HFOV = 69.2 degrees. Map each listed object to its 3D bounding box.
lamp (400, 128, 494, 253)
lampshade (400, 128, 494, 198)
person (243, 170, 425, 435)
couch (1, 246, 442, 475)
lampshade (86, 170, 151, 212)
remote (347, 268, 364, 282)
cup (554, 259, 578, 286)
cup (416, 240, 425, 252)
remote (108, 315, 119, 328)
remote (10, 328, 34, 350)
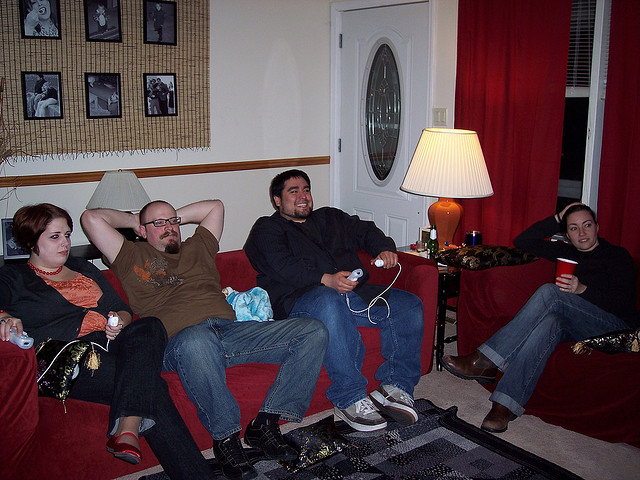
[{"bbox_3d":[0.906,-0.428,3.612,0.744,1.022,0.795,4,12,19],"label":"lamp"},{"bbox_3d":[0.861,-0.544,3.306,0.489,0.514,0.522,-3,16,-14],"label":"lampshade"},{"bbox_3d":[0.166,0.248,2.818,0.922,1.523,1.081,-2,-5,-41],"label":"person"},{"bbox_3d":[-0.294,0.568,2.654,2.548,0.861,0.944,-8,15,-32],"label":"couch"},{"bbox_3d":[-1.415,-0.347,3.296,0.371,0.259,0.375,-14,22,-34],"label":"lampshade"},{"bbox_3d":[0.185,0.190,2.563,0.038,0.041,0.112,-11,-29,-52],"label":"remote"},{"bbox_3d":[1.352,0.178,2.579,0.124,0.157,0.131,8,0,0],"label":"cup"},{"bbox_3d":[0.725,0.047,3.398,0.061,0.071,0.065,-1,9,0],"label":"cup"},{"bbox_3d":[-0.914,0.360,2.050,0.041,0.051,0.049,-4,7,-24],"label":"remote"},{"bbox_3d":[-1.200,0.399,1.869,0.093,0.060,0.041,25,-4,4],"label":"remote"}]
